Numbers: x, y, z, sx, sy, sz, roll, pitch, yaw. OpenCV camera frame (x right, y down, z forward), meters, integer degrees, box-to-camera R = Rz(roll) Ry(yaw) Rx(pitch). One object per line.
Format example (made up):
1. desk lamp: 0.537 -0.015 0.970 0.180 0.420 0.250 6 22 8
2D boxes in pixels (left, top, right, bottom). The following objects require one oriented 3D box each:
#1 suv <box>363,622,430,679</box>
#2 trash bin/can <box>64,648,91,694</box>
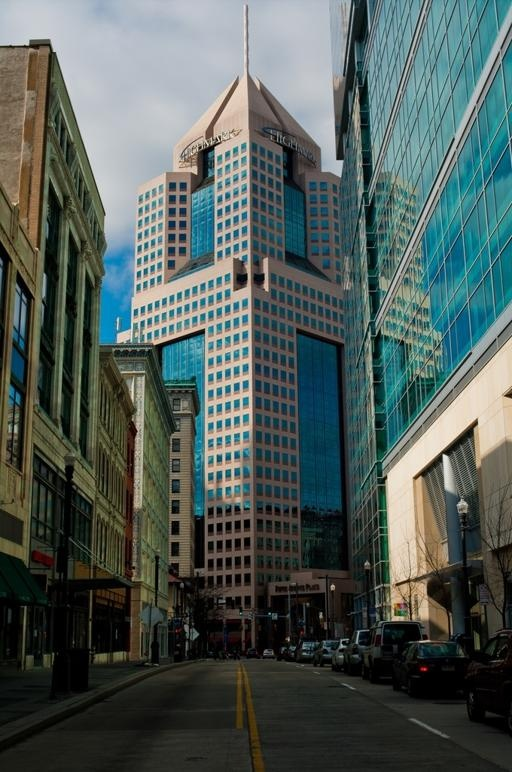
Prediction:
1. suv: 4.366 8.515 25.275 1.214 1.870 2.844 0 -17 1
2. trash bin/can: -4.453 7.118 19.592 0.698 1.634 0.817 2 -9 -16
